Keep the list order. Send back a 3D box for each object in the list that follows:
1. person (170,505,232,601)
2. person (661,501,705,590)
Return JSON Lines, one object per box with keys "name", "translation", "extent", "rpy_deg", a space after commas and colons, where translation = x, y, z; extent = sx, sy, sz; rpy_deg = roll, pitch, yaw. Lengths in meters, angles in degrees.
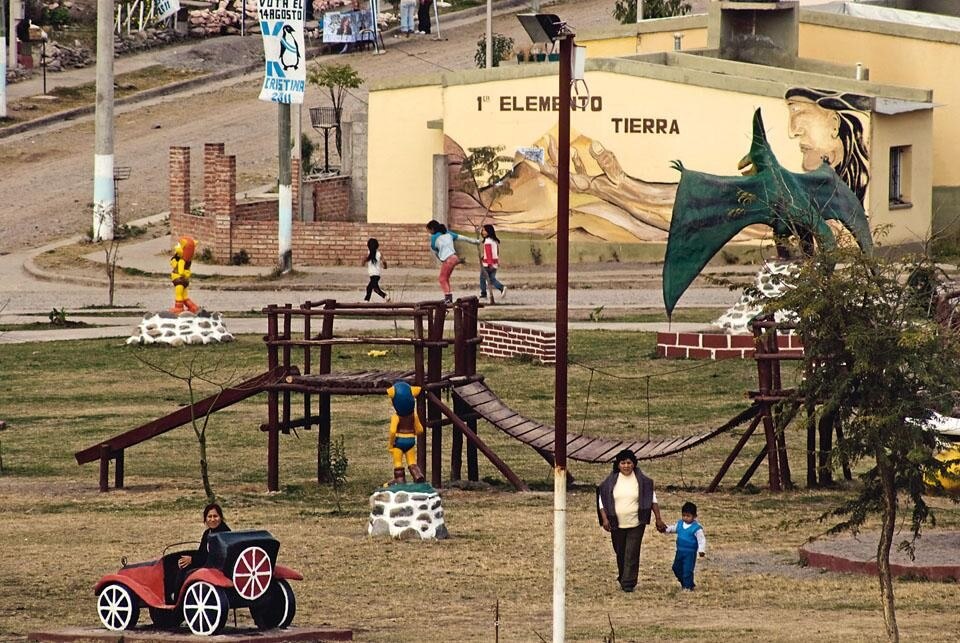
{"name": "person", "translation": [-6.115, 5.044, 64.424], "extent": [1.079, 1.423, 1.180], "rpy_deg": [-1, 1, 26]}
{"name": "person", "translation": [4.682, 5.138, 66.659], "extent": [1.078, 2.002, 0.885], "rpy_deg": [3, 1, 26]}
